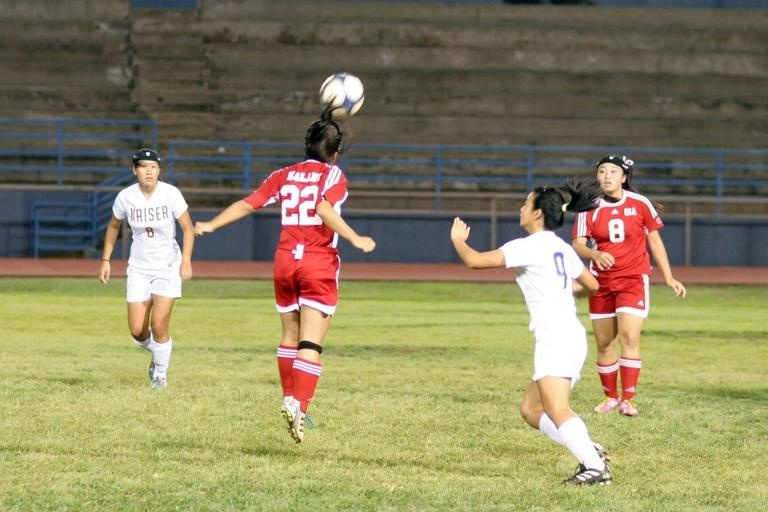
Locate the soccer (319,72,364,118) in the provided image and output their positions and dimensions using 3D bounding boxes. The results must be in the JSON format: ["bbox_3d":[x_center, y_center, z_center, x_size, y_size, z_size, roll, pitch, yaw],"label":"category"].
[{"bbox_3d":[-0.900,-3.114,30.667,0.856,0.885,0.865,4,11,37],"label":"soccer"}]

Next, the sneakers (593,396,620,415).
[{"bbox_3d":[4.235,2.889,30.386,0.475,0.183,0.240,-8,6,-20],"label":"sneakers"}]

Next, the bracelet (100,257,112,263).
[{"bbox_3d":[-5.502,0.072,31.235,0.168,0.075,0.189,3,-4,-38],"label":"bracelet"}]
